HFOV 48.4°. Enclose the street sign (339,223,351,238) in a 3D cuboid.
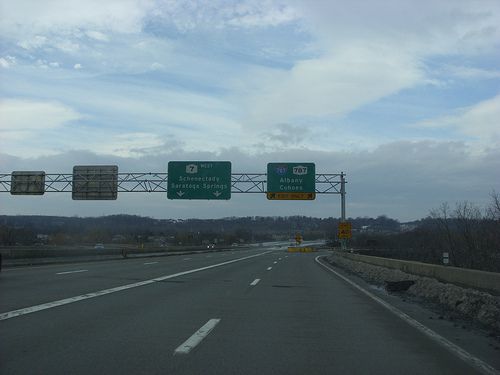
[{"bbox_3d":[7.402,3.326,43.709,1.190,1.417,0.155,-2,6,11],"label":"street sign"}]
